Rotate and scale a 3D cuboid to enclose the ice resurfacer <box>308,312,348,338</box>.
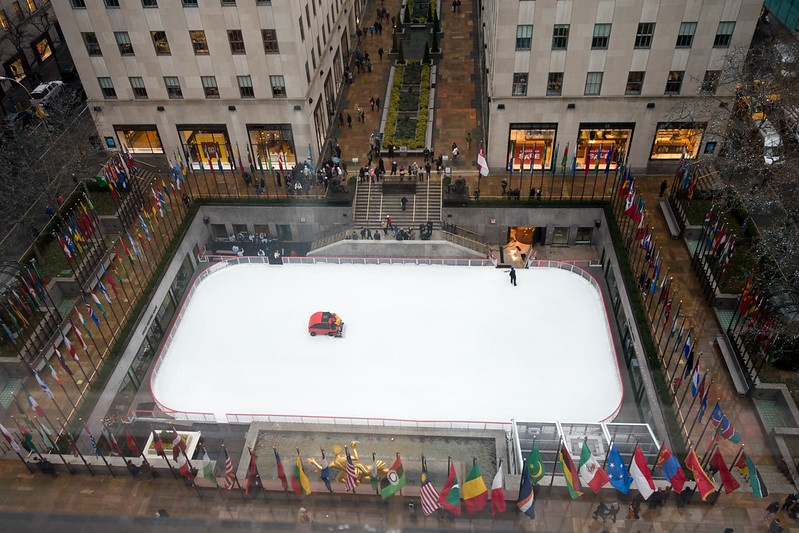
[{"bbox_3d":[-7.774,6.268,65.963,3.651,1.836,2.245,2,35,-2],"label":"ice resurfacer"}]

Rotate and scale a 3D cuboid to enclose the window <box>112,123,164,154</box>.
[{"bbox_3d":[-33.294,-16.233,79.783,5.354,3.017,3.766,1,-4,-6],"label":"window"}]

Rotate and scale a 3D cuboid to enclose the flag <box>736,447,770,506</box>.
[{"bbox_3d":[27.206,16.206,48.860,1.900,5.135,0.469,-22,6,13],"label":"flag"}]

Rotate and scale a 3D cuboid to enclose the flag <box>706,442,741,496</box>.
[{"bbox_3d":[25.979,16.002,50.219,0.526,2.047,5.321,20,14,7],"label":"flag"}]

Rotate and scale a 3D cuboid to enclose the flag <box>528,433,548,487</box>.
[{"bbox_3d":[10.853,15.961,50.313,1.652,0.283,4.300,-14,34,20],"label":"flag"}]

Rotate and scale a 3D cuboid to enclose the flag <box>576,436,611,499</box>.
[{"bbox_3d":[15.230,15.881,49.629,1.987,5.099,0.470,-11,7,15],"label":"flag"}]

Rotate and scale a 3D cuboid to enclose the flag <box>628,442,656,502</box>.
[{"bbox_3d":[19.014,16.721,49.023,0.954,4.853,2.353,-13,35,-16],"label":"flag"}]

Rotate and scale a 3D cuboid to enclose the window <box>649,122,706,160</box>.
[{"bbox_3d":[32.285,-14.913,73.004,4.728,2.902,4.759,13,35,36],"label":"window"}]

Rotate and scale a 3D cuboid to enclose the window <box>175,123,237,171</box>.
[{"bbox_3d":[-24.242,-15.261,77.759,7.746,7.889,0.859,5,49,0],"label":"window"}]

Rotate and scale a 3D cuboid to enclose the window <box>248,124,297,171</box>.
[{"bbox_3d":[-15.787,-15.098,76.873,7.000,7.651,0.319,6,46,2],"label":"window"}]

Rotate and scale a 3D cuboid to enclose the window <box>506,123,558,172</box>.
[{"bbox_3d":[16.113,-14.853,75.746,6.932,7.055,0.306,0,34,4],"label":"window"}]

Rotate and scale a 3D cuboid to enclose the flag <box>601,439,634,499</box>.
[{"bbox_3d":[17.508,16.320,49.832,1.746,0.410,4.582,-8,35,14],"label":"flag"}]

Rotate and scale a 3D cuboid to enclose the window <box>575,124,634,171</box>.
[{"bbox_3d":[24.735,-14.651,74.818,5.657,4.942,2.185,0,36,6],"label":"window"}]
